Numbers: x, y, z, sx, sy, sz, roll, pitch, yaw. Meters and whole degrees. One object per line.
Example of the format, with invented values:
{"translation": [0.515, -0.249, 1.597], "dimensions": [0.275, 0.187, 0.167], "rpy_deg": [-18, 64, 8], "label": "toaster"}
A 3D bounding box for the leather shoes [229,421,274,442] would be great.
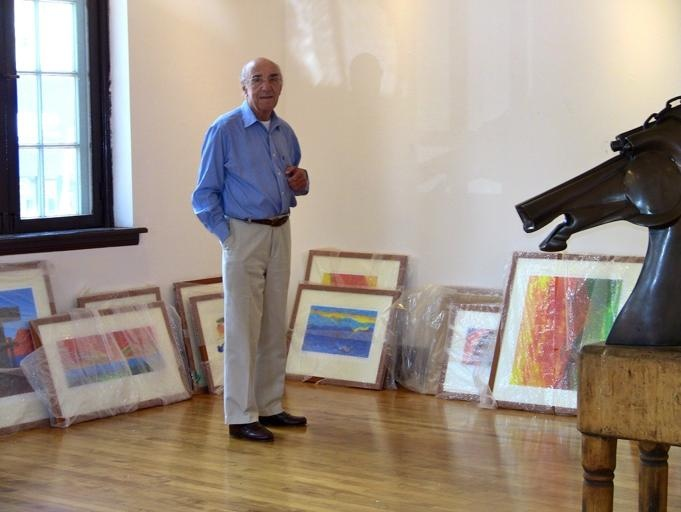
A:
{"translation": [-0.483, 0.944, 3.142], "dimensions": [0.203, 0.095, 0.105], "rpy_deg": [-3, -2, 31], "label": "leather shoes"}

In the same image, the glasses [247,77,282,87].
{"translation": [-0.405, -0.938, 3.063], "dimensions": [0.177, 0.063, 0.064], "rpy_deg": [-1, 5, -14], "label": "glasses"}

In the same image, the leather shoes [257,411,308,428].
{"translation": [-0.335, 0.952, 3.312], "dimensions": [0.275, 0.128, 0.107], "rpy_deg": [-2, -3, 1], "label": "leather shoes"}

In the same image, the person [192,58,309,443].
{"translation": [-0.479, -0.035, 3.151], "dimensions": [0.638, 2.065, 0.357], "rpy_deg": [-2, 4, -20], "label": "person"}
